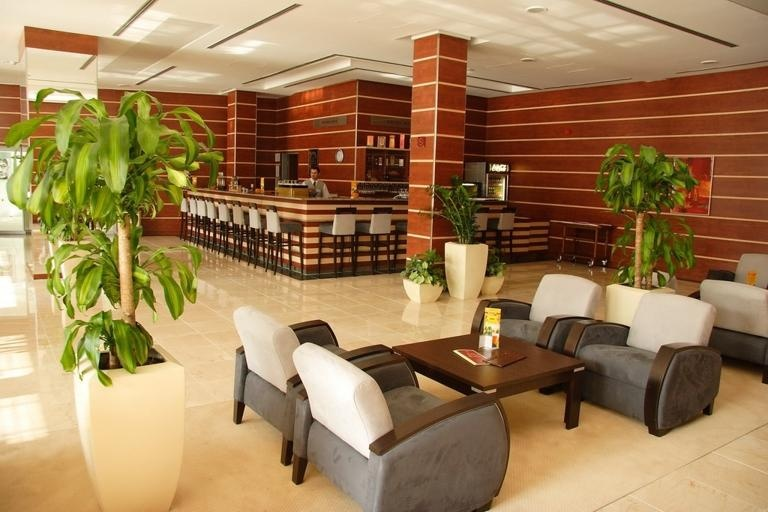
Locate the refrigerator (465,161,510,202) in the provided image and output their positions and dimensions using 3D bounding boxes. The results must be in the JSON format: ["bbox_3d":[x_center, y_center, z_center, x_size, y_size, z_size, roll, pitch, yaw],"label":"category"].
[{"bbox_3d":[3.000,-2.078,13.605,1.073,1.578,1.130,-3,5,-35],"label":"refrigerator"}]

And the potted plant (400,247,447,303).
[{"bbox_3d":[0.757,0.342,7.955,0.855,0.995,0.797,-1,6,-35],"label":"potted plant"}]

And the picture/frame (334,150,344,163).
[{"bbox_3d":[-1.175,-2.688,12.721,0.074,0.313,0.301,2,7,-40],"label":"picture/frame"}]

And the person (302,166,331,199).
[{"bbox_3d":[-1.603,-1.772,11.381,0.449,0.697,0.742,0,7,-16],"label":"person"}]

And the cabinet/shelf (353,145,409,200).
[{"bbox_3d":[-0.142,-2.156,12.206,1.882,1.751,0.580,-3,9,-28],"label":"cabinet/shelf"}]

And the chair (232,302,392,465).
[{"bbox_3d":[-0.668,0.806,4.290,1.182,1.303,1.314,15,18,42],"label":"chair"}]
